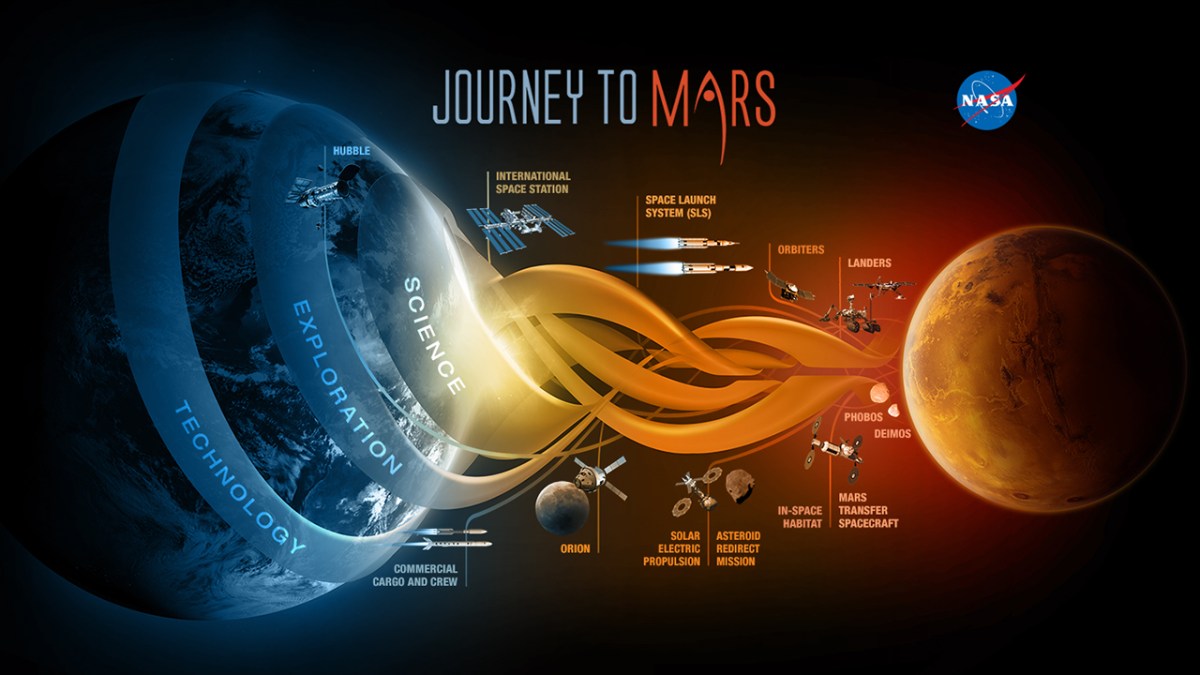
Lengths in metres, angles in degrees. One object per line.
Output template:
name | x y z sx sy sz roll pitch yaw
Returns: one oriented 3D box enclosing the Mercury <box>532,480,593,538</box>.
Mercury | -0.289 1.307 7.175 0.411 0.177 0.395 0 70 4
